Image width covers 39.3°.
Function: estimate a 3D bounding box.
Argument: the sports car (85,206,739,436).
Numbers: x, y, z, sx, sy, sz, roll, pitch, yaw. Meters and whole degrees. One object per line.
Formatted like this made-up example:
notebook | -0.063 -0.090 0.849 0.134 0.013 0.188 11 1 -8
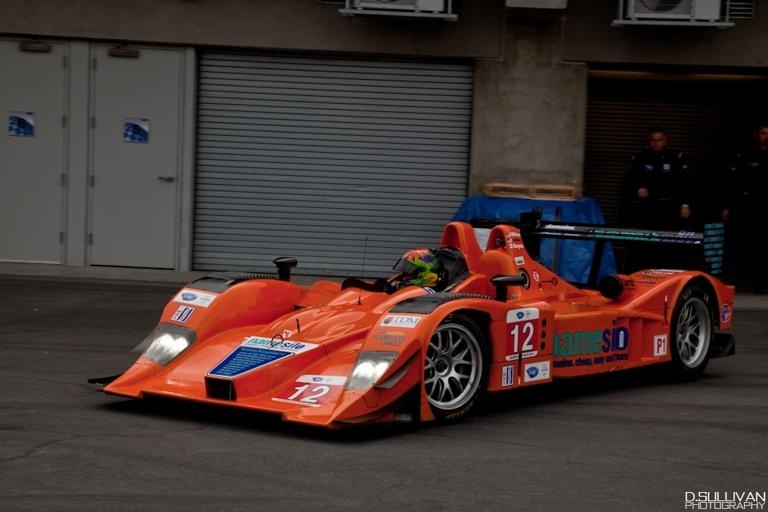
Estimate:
sports car | 0.893 0.717 11.019 4.902 1.166 2.793 -1 0 -40
